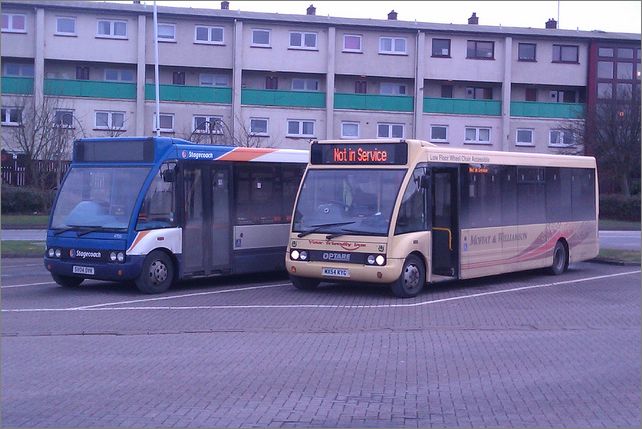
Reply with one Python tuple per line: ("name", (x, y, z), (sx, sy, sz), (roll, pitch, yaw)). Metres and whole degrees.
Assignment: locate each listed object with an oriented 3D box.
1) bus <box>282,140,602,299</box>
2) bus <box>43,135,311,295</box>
("bus", (3.978, -0.032, 18.216), (9.669, 3.648, 3.265), (-2, 1, -42))
("bus", (-3.174, -0.077, 18.231), (3.070, 3.649, 8.660), (1, 2, 26))
